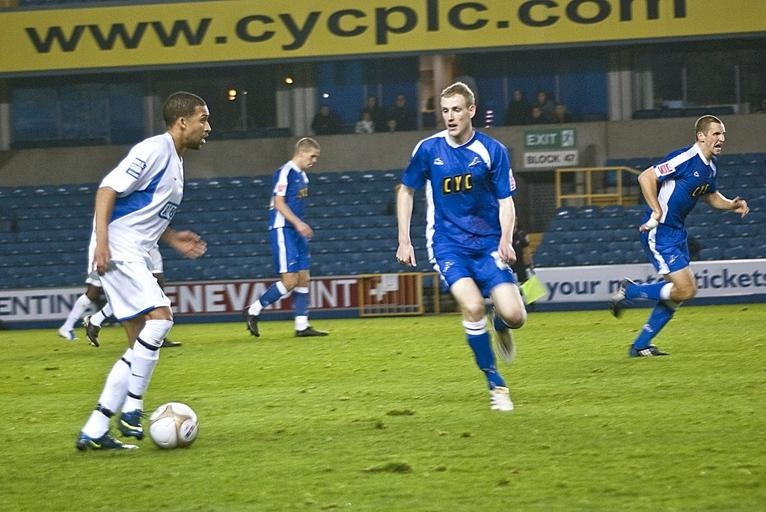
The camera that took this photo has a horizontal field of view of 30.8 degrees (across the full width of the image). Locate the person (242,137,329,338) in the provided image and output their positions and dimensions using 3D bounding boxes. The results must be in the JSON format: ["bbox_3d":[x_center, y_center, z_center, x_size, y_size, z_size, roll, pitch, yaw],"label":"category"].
[{"bbox_3d":[-1.769,-0.270,25.323,1.407,3.648,1.126,-4,7,-3],"label":"person"}]

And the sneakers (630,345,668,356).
[{"bbox_3d":[4.380,1.552,23.049,0.708,0.224,0.210,-1,-3,0],"label":"sneakers"}]

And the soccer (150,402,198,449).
[{"bbox_3d":[-3.095,2.510,20.442,0.508,0.453,0.473,-16,23,33],"label":"soccer"}]
